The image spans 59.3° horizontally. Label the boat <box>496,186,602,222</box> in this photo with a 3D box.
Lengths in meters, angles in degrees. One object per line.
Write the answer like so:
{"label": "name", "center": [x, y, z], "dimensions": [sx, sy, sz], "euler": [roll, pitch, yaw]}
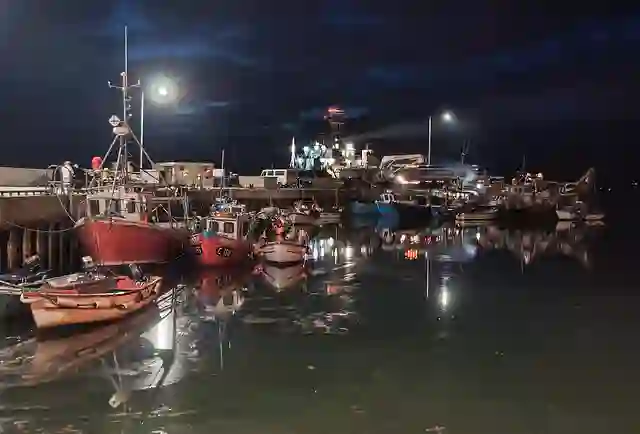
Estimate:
{"label": "boat", "center": [20.852, -0.829, 52.455], "dimensions": [8.479, 3.037, 4.617], "euler": [6, 2, 2]}

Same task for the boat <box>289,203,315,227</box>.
{"label": "boat", "center": [-1.397, -0.058, 43.585], "dimensions": [1.186, 1.611, 4.337], "euler": [1, 7, 8]}

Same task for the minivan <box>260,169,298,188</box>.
{"label": "minivan", "center": [-4.398, -3.992, 55.086], "dimensions": [4.011, 2.202, 2.551], "euler": [2, 4, 16]}

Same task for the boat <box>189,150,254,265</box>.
{"label": "boat", "center": [-4.480, 0.686, 26.328], "dimensions": [2.615, 2.877, 3.731], "euler": [0, 7, -7]}

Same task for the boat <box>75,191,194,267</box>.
{"label": "boat", "center": [-8.262, 0.716, 25.875], "dimensions": [3.708, 3.130, 7.733], "euler": [-5, -2, 8]}

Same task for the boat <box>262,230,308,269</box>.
{"label": "boat", "center": [-1.803, 1.629, 27.893], "dimensions": [2.357, 1.434, 4.604], "euler": [-1, 4, -1]}

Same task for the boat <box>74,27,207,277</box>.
{"label": "boat", "center": [-8.561, -2.943, 25.776], "dimensions": [4.000, 10.323, 9.824], "euler": [-1, 5, 3]}

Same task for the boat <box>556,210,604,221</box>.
{"label": "boat", "center": [23.788, -0.152, 51.996], "dimensions": [4.433, 1.101, 1.717], "euler": [-2, 7, -19]}
